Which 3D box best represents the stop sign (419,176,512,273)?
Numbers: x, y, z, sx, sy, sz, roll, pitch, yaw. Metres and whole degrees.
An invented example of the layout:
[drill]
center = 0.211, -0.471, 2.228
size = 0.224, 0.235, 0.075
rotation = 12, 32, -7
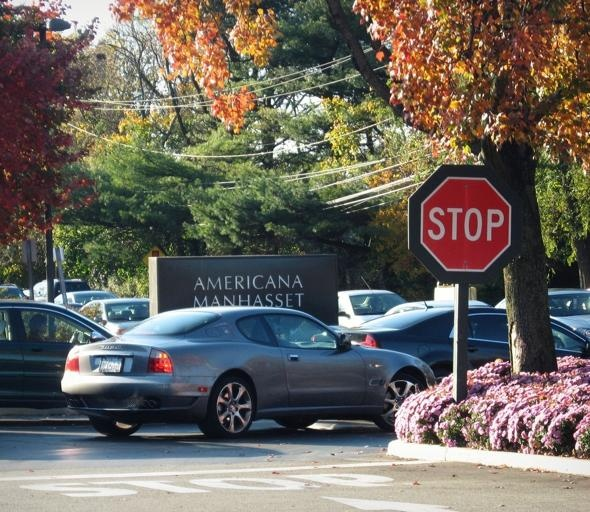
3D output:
[stop sign]
center = 1.849, -0.347, 13.334
size = 0.868, 0.988, 0.121
rotation = 0, 5, -5
